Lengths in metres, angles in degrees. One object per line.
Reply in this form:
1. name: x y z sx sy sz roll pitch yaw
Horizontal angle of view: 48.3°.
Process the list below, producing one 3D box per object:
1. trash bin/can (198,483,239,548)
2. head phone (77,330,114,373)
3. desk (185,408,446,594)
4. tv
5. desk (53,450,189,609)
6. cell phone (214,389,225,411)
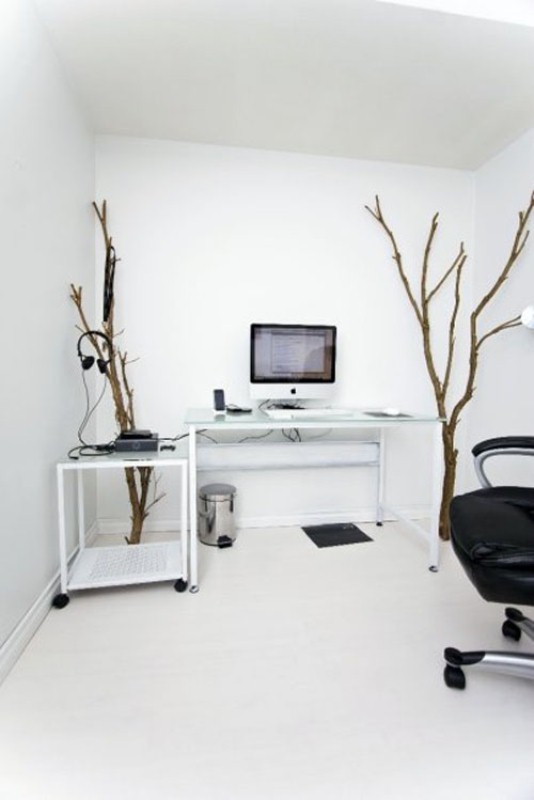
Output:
1. trash bin/can: -0.260 0.614 3.113 0.198 0.276 0.179 -1 6 -24
2. head phone: -0.780 -0.199 2.644 0.156 0.240 0.072 -7 6 -34
3. desk: 0.178 0.450 3.020 1.137 0.873 0.634 2 7 -7
4. tv: 0.124 -0.199 3.055 0.305 0.334 0.081 0 2 -11
5. desk: -0.623 0.561 2.644 0.548 0.653 0.526 0 -2 -12
6. cell phone: -0.234 0.000 2.922 0.047 0.096 0.145 0 10 -3
